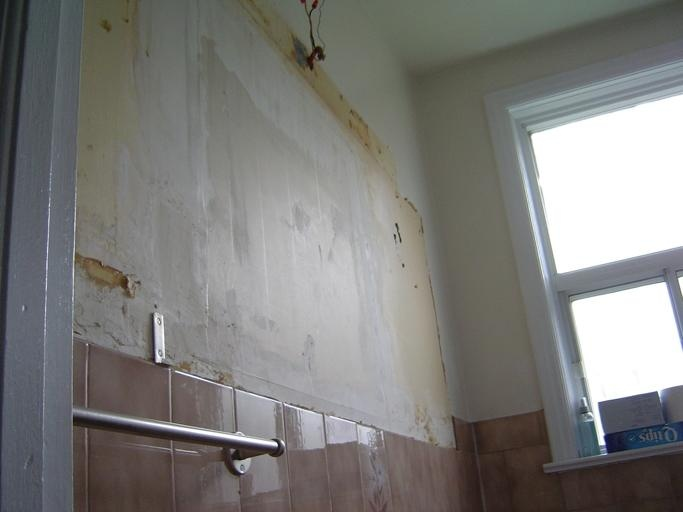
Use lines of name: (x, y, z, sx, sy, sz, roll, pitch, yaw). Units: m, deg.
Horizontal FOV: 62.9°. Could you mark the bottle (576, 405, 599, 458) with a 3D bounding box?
bottle: (1.070, 0.772, 2.431, 0.104, 0.200, 0.049, -9, -15, 1)
